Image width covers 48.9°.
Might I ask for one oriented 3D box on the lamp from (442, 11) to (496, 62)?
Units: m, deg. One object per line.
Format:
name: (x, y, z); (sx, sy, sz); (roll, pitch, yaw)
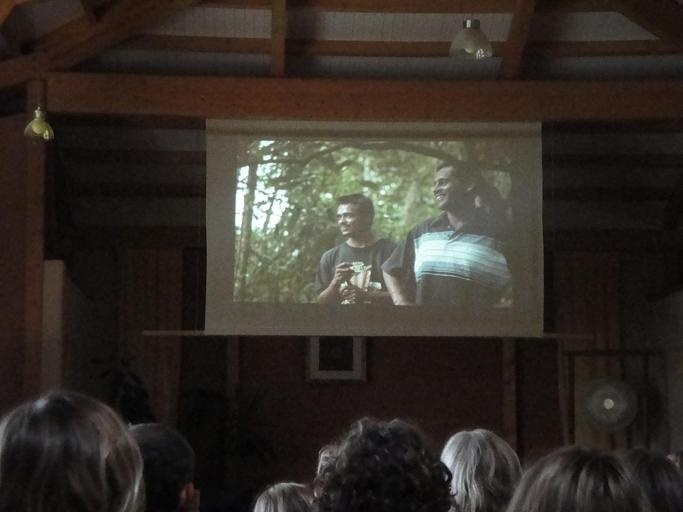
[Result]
lamp: (1.010, -1.680, 5.827); (0.322, 0.369, 0.322); (2, -3, -29)

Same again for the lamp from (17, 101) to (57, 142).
lamp: (-2.340, -1.035, 5.811); (0.143, 0.279, 0.225); (-7, -6, 44)
